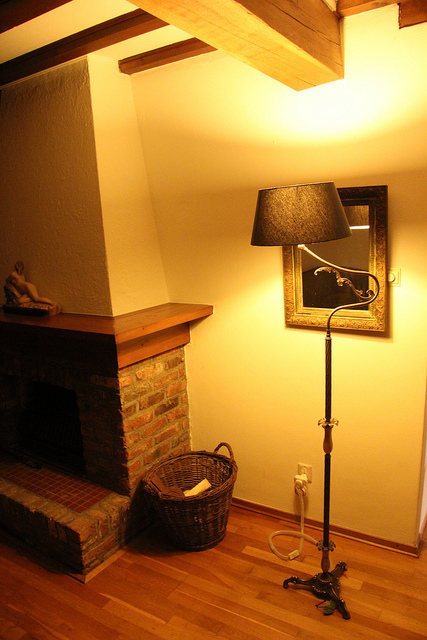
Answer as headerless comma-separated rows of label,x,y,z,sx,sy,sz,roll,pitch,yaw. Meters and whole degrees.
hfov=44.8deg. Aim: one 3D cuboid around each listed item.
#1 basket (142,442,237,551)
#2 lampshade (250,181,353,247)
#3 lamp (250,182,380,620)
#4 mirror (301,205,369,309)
basket,-0.121,0.799,2.391,0.426,0.390,0.476,-2,9,10
lampshade,0.274,-0.337,1.738,0.369,0.193,0.370,-3,6,44
lamp,0.435,0.288,1.915,0.379,1.540,0.516,2,14,30
mirror,0.457,-0.240,1.900,0.350,0.470,0.022,10,24,40
